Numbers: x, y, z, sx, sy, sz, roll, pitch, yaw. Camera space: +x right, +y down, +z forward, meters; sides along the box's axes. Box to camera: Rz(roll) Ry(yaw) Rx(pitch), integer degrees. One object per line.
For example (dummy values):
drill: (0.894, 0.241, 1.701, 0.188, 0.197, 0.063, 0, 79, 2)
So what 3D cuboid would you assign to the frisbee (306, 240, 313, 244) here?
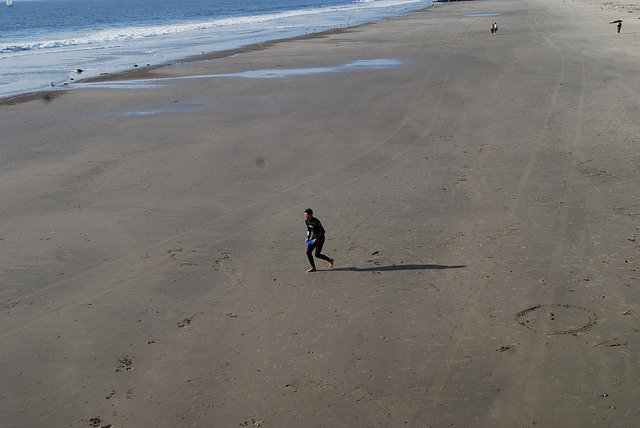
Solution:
frisbee: (-0.320, 0.878, 18.508, 0.204, 0.186, 0.088, 12, 44, 20)
